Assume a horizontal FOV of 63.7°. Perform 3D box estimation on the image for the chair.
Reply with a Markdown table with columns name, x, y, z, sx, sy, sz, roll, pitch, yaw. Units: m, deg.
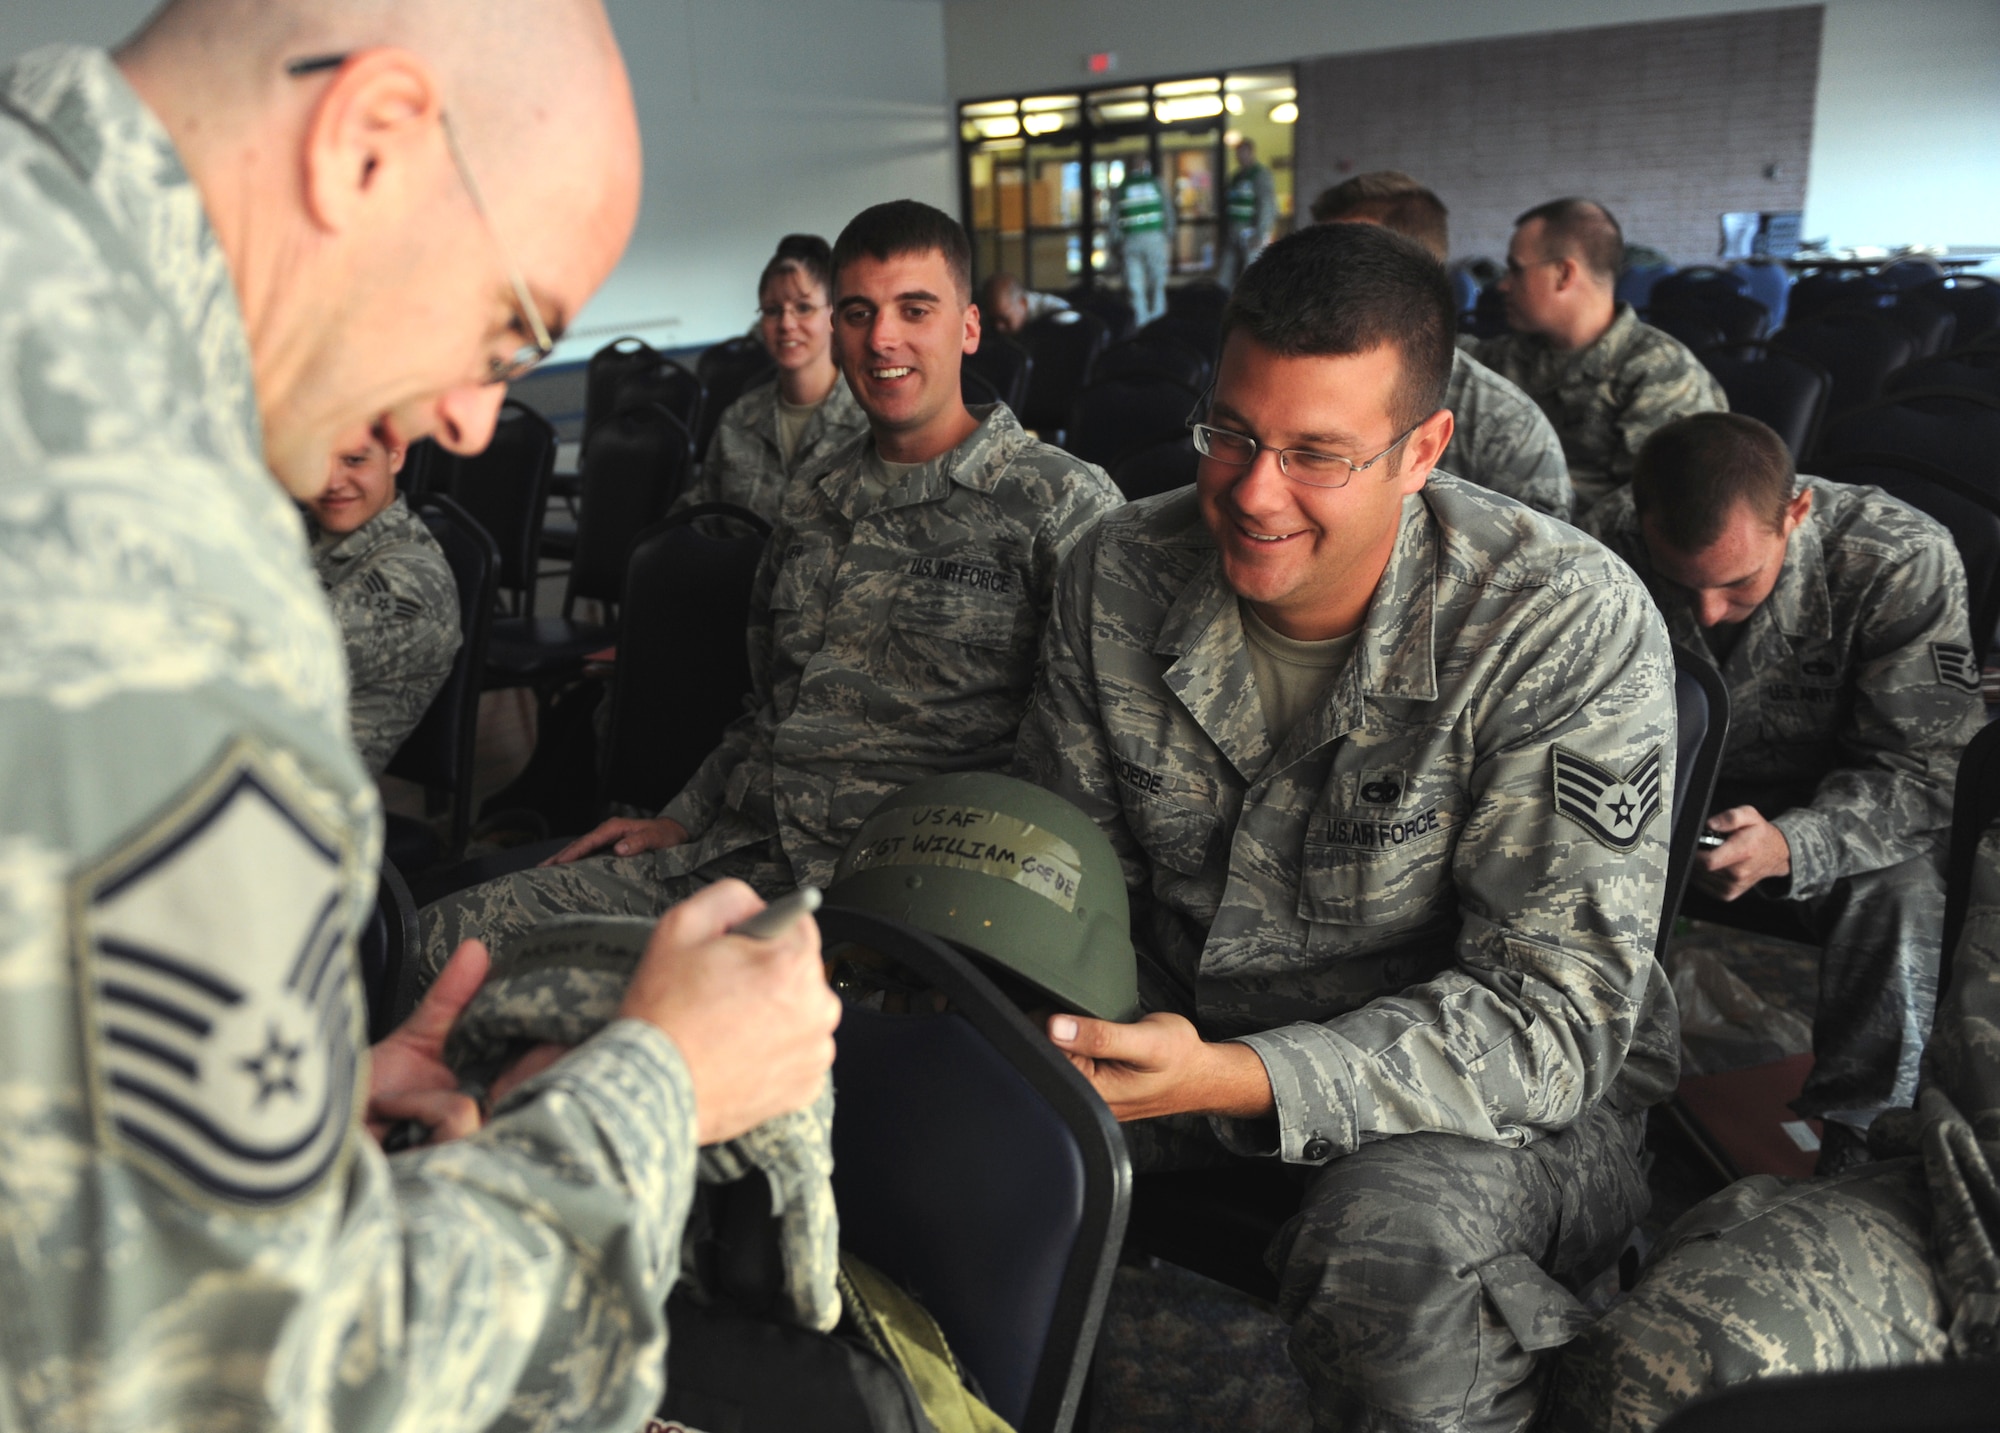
| name | x | y | z | sx | sy | sz | roll | pitch | yaw |
| --- | --- | --- | --- | --- | --- | --- | --- | --- | --- |
| chair | 0.283 | 0.055 | 2.439 | 1.260 | 1.549 | 1.462 | -12 | 17 | -37 |

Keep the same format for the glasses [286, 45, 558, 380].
| name | x | y | z | sx | sy | sz | roll | pitch | yaw |
| --- | --- | --- | --- | --- | --- | --- | --- | --- | --- |
| glasses | -0.316 | -0.289 | 0.929 | 0.121 | 0.145 | 0.047 | 6 | 32 | 32 |
